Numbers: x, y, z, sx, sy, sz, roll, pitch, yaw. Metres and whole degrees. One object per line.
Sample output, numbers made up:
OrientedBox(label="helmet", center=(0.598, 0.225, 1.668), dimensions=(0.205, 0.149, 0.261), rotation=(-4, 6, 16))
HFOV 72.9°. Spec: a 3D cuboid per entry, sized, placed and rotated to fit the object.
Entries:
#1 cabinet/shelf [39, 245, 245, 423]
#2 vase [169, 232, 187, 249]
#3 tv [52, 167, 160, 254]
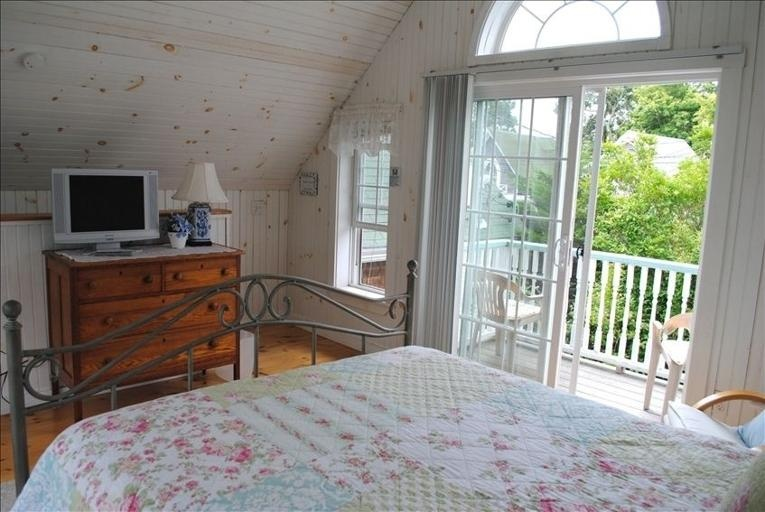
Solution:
OrientedBox(label="cabinet/shelf", center=(-1.624, 0.470, 3.354), dimensions=(1.311, 1.078, 0.660), rotation=(-4, 6, -37))
OrientedBox(label="vase", center=(-1.591, -0.119, 3.997), dimensions=(0.137, 0.092, 0.133), rotation=(-2, 4, -38))
OrientedBox(label="tv", center=(-2.024, -0.335, 3.717), dimensions=(0.713, 0.540, 0.117), rotation=(-3, 5, -37))
